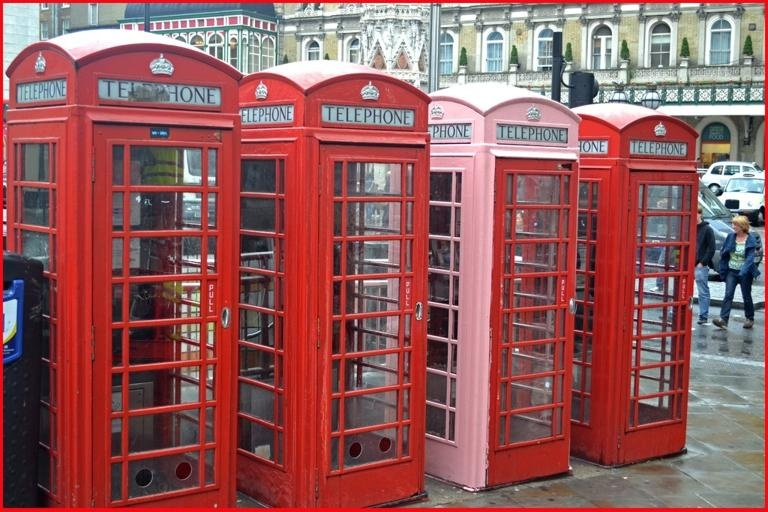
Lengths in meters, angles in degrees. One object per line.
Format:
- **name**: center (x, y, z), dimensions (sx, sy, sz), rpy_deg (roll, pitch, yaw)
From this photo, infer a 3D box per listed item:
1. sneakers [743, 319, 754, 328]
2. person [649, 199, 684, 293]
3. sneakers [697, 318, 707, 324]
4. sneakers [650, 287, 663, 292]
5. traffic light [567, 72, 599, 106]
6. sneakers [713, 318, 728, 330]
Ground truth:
- **sneakers**: center (6.672, 1.248, 15.232), dimensions (0.101, 0.120, 0.279), rpy_deg (-4, -7, 33)
- **person**: center (2.871, -0.120, 8.568), dimensions (0.439, 0.969, 0.136), rpy_deg (-2, 12, -33)
- **sneakers**: center (5.903, 1.208, 15.437), dimensions (0.202, 0.138, 0.067), rpy_deg (7, -6, -43)
- **sneakers**: center (2.805, 0.351, 8.596), dimensions (0.147, 0.063, 0.055), rpy_deg (3, 2, -14)
- **traffic light**: center (3.417, -2.806, 14.136), dimensions (0.444, 0.588, 0.782), rpy_deg (1, 10, -20)
- **sneakers**: center (6.062, 1.205, 15.001), dimensions (0.129, 0.136, 0.299), rpy_deg (17, -16, 45)
